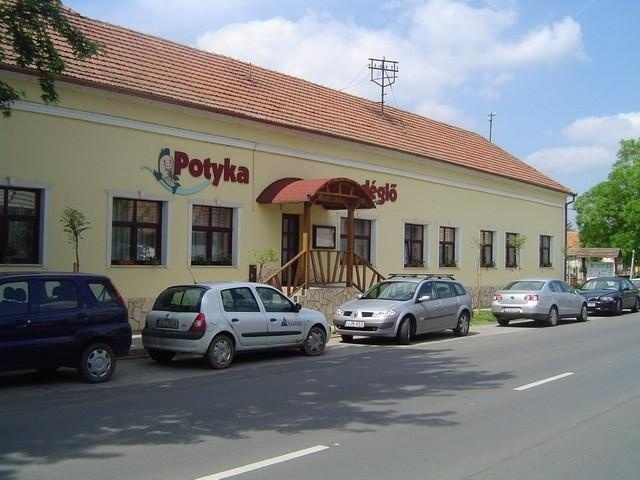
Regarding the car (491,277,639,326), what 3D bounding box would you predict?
[{"bbox_3d":[8.935,2.402,22.068,4.423,1.512,1.757,0,-3,-42],"label":"car"}]
